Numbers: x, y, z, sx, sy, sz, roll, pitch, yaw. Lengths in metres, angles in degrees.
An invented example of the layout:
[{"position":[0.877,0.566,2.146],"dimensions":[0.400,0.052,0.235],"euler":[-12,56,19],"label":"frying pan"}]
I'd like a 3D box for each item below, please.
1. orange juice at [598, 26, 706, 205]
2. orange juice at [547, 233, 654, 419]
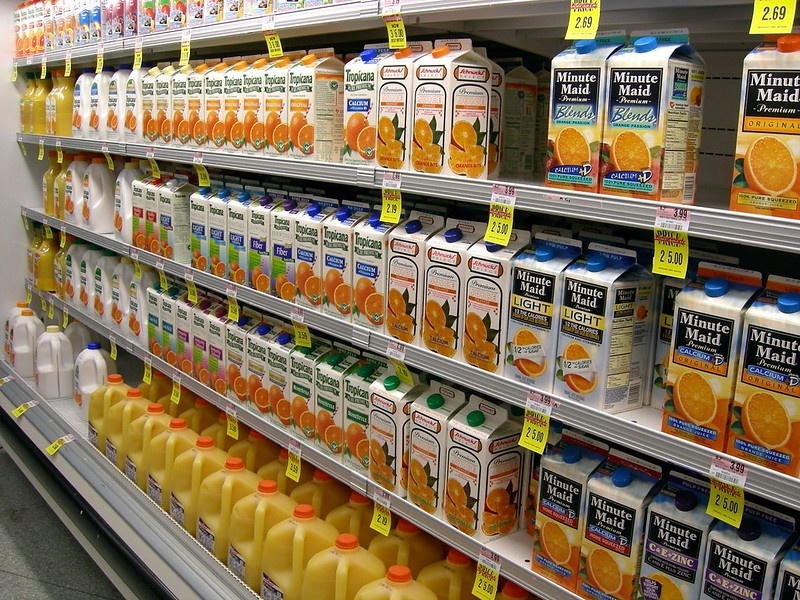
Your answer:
[{"position":[0.683,-0.474,1.557],"dimensions":[0.267,0.427,0.198],"euler":[2,18,14],"label":"orange juice"},{"position":[0.603,0.093,1.709],"dimensions":[0.243,0.465,0.239],"euler":[9,21,34],"label":"orange juice"}]
